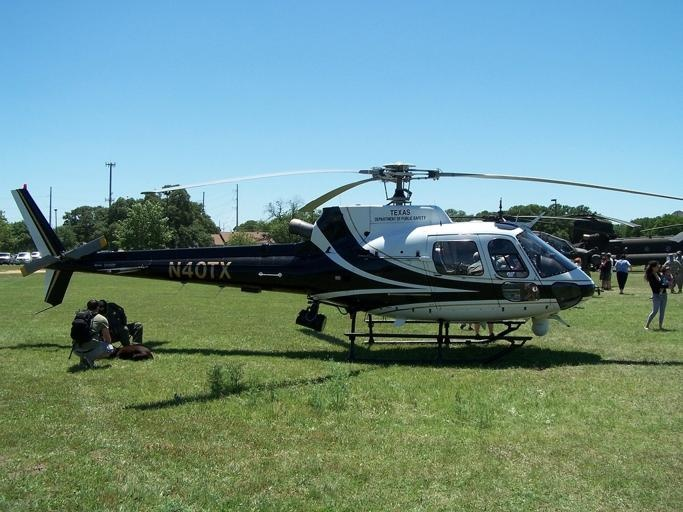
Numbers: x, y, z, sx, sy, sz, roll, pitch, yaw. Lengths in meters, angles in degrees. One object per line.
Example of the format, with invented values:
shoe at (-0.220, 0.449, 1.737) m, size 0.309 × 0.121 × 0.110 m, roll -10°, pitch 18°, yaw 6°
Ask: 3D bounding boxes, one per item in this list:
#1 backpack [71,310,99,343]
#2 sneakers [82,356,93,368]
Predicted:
backpack at (-6.163, 1.715, 14.410) m, size 0.490 × 0.692 × 0.578 m, roll 1°, pitch 13°, yaw 5°
sneakers at (-5.905, 2.493, 14.160) m, size 0.459 × 0.147 × 0.139 m, roll 25°, pitch 11°, yaw 40°
